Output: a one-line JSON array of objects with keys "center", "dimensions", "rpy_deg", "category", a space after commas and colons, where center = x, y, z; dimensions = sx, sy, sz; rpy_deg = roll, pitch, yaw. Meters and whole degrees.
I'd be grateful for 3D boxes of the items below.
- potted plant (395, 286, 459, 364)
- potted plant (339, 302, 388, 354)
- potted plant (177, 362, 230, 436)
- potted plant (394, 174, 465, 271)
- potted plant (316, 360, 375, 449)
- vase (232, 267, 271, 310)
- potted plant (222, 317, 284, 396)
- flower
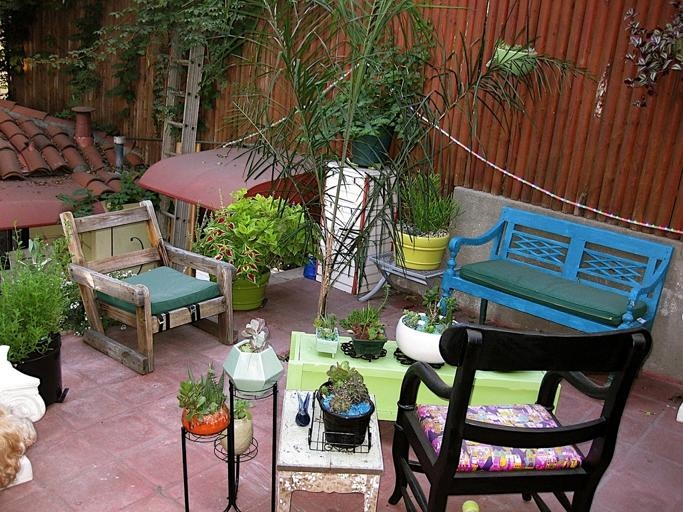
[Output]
[{"center": [0.558, 0.459, 3.480], "dimensions": [0.457, 0.467, 0.465], "rpy_deg": [3, 5, 6], "category": "potted plant"}, {"center": [0.150, 0.476, 3.458], "dimensions": [0.329, 0.384, 0.301], "rpy_deg": [-1, 16, -2], "category": "potted plant"}, {"center": [-0.687, 0.746, 2.569], "dimensions": [0.250, 0.364, 0.251], "rpy_deg": [4, 23, 0], "category": "potted plant"}, {"center": [0.846, -0.388, 5.276], "dimensions": [0.690, 1.015, 0.607], "rpy_deg": [0, 7, -43], "category": "potted plant"}, {"center": [0.051, 0.758, 2.628], "dimensions": [0.336, 0.382, 0.371], "rpy_deg": [2, 10, 7], "category": "potted plant"}, {"center": [-0.926, 0.339, 5.084], "dimensions": [0.366, 0.268, 0.359], "rpy_deg": [-1, 12, -7], "category": "vase"}, {"center": [-0.504, 0.502, 2.704], "dimensions": [0.365, 0.438, 0.327], "rpy_deg": [-2, 9, -26], "category": "potted plant"}, {"center": [-0.822, -0.205, 4.991], "dimensions": [1.016, 0.719, 1.029], "rpy_deg": [4, 9, 20], "category": "flower"}]
